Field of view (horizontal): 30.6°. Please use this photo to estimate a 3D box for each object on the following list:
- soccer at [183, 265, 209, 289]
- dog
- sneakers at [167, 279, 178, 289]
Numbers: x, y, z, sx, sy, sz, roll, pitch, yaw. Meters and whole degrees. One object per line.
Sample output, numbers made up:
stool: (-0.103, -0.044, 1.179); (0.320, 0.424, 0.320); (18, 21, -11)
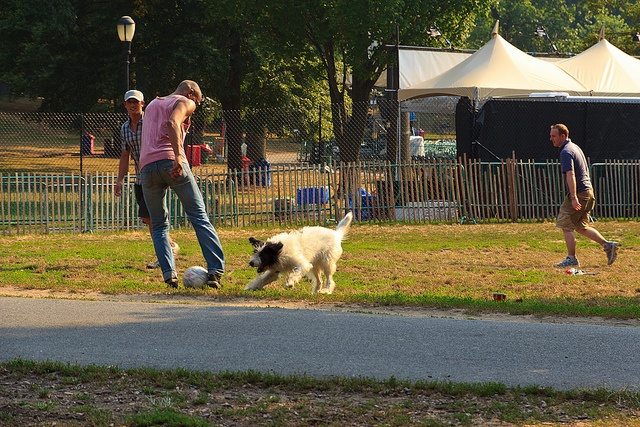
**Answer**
soccer: (-2.779, 1.539, 26.795); (0.497, 0.440, 0.488); (19, 8, 10)
dog: (-0.431, 1.214, 27.264); (2.631, 1.491, 0.707); (-2, 1, -28)
sneakers: (-3.334, 1.700, 26.583); (0.191, 0.204, 0.254); (-2, 35, -15)
